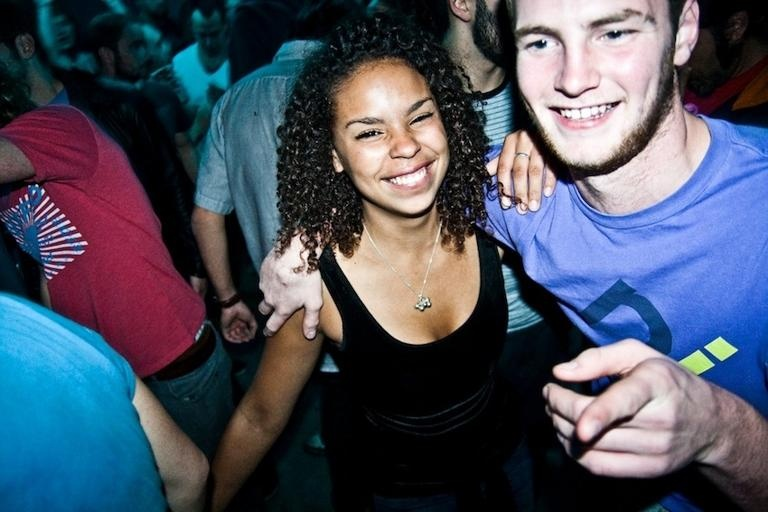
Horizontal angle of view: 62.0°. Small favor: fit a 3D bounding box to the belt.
[{"bbox_3d":[-1.062,0.472,3.325,0.279,0.082,0.275,-27,7,-16],"label":"belt"}]
